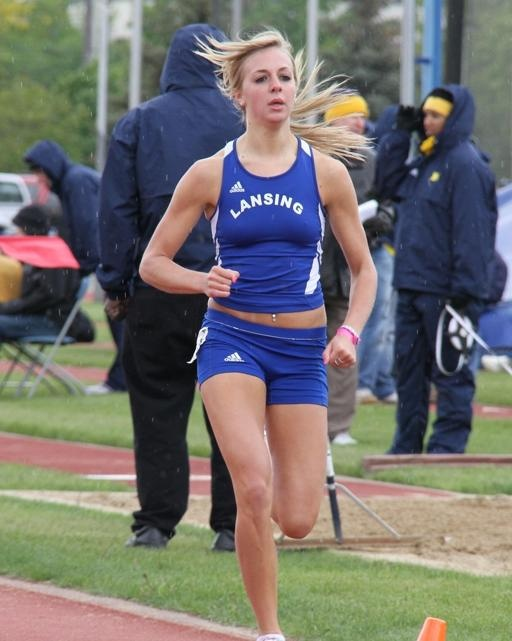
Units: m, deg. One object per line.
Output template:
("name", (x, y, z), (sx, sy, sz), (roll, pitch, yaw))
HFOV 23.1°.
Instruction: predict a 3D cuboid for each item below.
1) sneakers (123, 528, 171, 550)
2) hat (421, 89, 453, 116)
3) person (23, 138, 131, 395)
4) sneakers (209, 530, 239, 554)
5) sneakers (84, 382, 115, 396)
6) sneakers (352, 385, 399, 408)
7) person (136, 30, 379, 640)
("sneakers", (-0.409, 0.841, 4.756), (0.122, 0.058, 0.078), (-5, -2, 3))
("hat", (0.691, -0.843, 4.784), (0.084, 0.090, 0.112), (4, 30, 12))
("person", (-0.768, -0.222, 5.284), (0.371, 1.031, 0.339), (-13, -7, 40))
("sneakers", (-0.123, 0.865, 4.784), (0.101, 0.113, 0.110), (-2, -14, 8))
("sneakers", (-0.723, 0.328, 5.748), (0.072, 0.059, 0.225), (37, 5, 12))
("sneakers", (0.942, 0.590, 9.338), (0.456, 0.214, 0.154), (0, 0, -3))
("person", (0.013, 0.031, 3.774), (0.672, 1.842, 0.909), (2, 4, 6))
